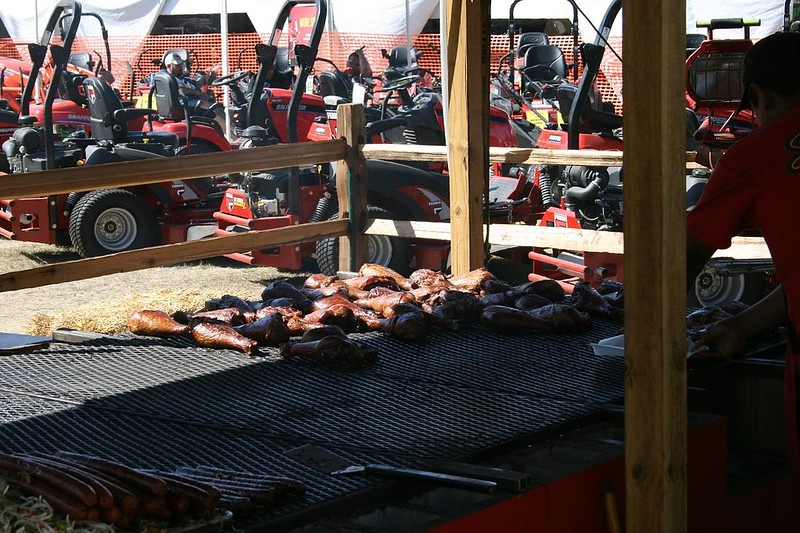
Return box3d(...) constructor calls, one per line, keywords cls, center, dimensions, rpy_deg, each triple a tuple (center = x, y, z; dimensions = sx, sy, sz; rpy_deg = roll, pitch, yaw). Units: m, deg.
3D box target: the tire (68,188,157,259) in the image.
box3d(cls="tire", center=(-3.318, -0.492, 8.716), dimensions=(0.773, 0.687, 0.234), rpy_deg=(17, 2, -23))
